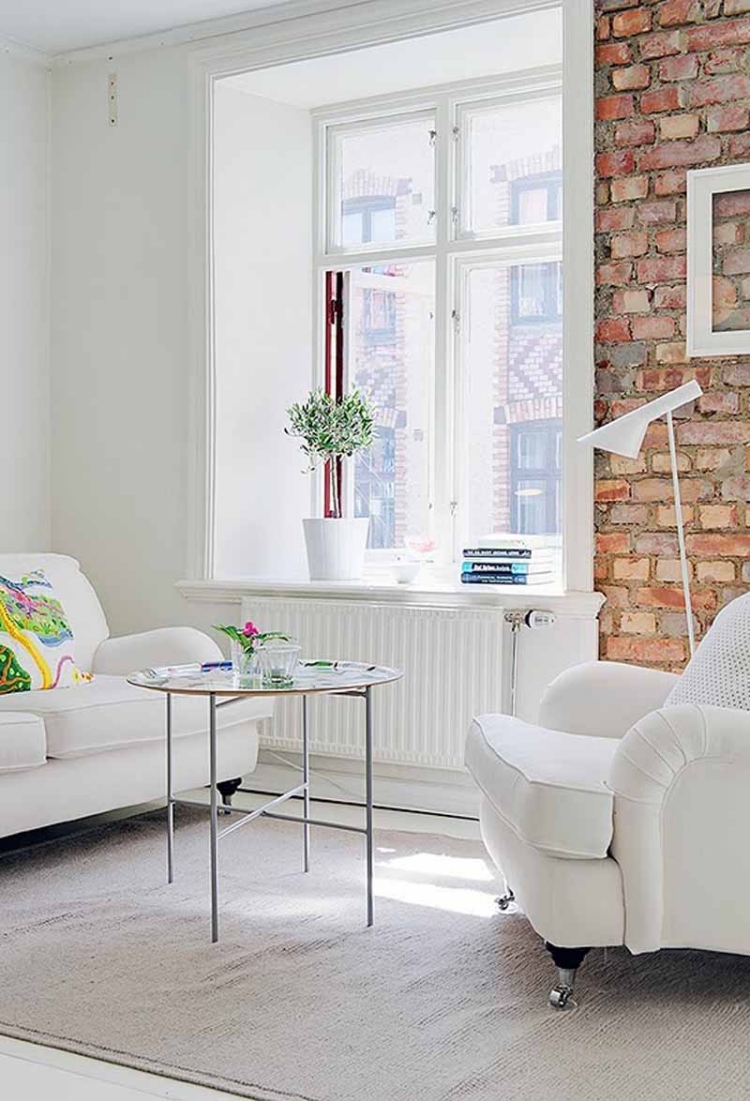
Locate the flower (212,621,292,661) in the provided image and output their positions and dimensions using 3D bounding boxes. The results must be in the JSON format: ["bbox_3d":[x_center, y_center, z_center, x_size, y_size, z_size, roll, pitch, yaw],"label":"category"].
[{"bbox_3d":[-0.337,0.247,2.743,0.203,0.102,0.197,16,-6,-11],"label":"flower"}]

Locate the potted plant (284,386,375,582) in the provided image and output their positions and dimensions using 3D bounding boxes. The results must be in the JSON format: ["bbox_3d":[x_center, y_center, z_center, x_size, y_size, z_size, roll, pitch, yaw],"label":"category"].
[{"bbox_3d":[-0.171,-0.267,3.813,0.358,0.784,0.491,0,-3,-5],"label":"potted plant"}]

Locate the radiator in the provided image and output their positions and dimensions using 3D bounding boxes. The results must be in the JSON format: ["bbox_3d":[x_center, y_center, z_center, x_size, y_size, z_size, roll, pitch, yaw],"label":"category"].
[{"bbox_3d":[0.105,0.402,3.048,0.668,0.391,0.053,1,1,30],"label":"radiator"}]

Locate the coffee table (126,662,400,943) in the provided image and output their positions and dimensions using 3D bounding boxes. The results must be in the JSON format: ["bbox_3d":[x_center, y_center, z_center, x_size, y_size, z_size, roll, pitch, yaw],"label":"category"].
[{"bbox_3d":[-0.306,0.535,2.412,0.655,0.596,0.653,-1,1,21],"label":"coffee table"}]

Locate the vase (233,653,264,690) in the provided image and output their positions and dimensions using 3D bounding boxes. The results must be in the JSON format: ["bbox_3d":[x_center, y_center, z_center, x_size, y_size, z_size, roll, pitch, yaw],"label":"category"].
[{"bbox_3d":[-0.277,0.266,2.204,0.077,0.090,0.066,0,-6,-5],"label":"vase"}]

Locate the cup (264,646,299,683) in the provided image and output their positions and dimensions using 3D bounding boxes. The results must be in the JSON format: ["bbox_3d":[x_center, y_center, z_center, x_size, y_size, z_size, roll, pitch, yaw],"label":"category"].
[{"bbox_3d":[-0.203,0.249,2.160,0.083,0.084,0.104,0,-3,-13],"label":"cup"}]

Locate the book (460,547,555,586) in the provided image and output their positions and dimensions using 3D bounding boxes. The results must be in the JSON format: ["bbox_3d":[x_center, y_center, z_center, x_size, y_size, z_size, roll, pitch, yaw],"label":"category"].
[{"bbox_3d":[0.444,0.051,3.330,0.307,0.132,0.139,-1,-3,8],"label":"book"}]
